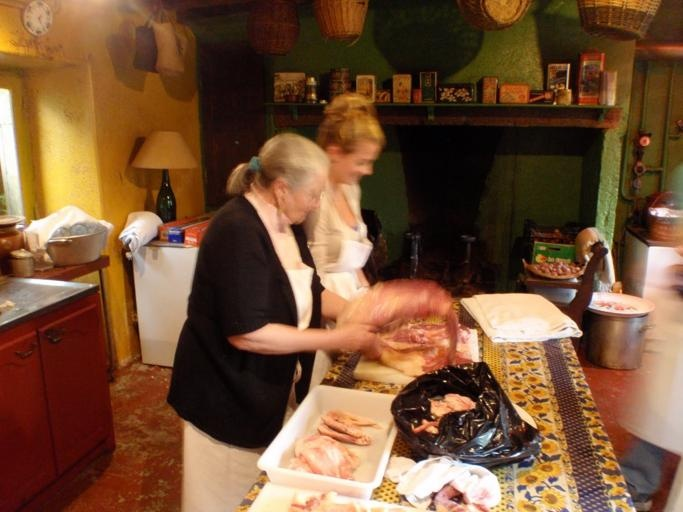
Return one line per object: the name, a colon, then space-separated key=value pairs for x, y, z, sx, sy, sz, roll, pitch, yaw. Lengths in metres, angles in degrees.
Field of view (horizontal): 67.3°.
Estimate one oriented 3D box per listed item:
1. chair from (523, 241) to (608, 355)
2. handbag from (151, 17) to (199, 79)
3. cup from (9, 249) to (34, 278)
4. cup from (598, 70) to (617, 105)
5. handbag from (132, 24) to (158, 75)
chair: x=1.629 y=0.206 z=3.623 sx=0.586 sy=0.873 sz=0.512 roll=6 pitch=21 yaw=18
handbag: x=-1.531 y=-1.893 z=4.712 sx=0.267 sy=0.533 sz=1.004 roll=-3 pitch=13 yaw=-9
cup: x=-2.058 y=0.048 z=3.311 sx=0.156 sy=0.238 sz=0.173 roll=1 pitch=4 yaw=-32
cup: x=2.283 y=-1.416 z=4.379 sx=0.138 sy=0.292 sz=0.087 roll=0 pitch=13 yaw=1
handbag: x=-1.673 y=-1.766 z=4.379 sx=0.203 sy=0.347 sz=0.150 roll=-3 pitch=14 yaw=-12
